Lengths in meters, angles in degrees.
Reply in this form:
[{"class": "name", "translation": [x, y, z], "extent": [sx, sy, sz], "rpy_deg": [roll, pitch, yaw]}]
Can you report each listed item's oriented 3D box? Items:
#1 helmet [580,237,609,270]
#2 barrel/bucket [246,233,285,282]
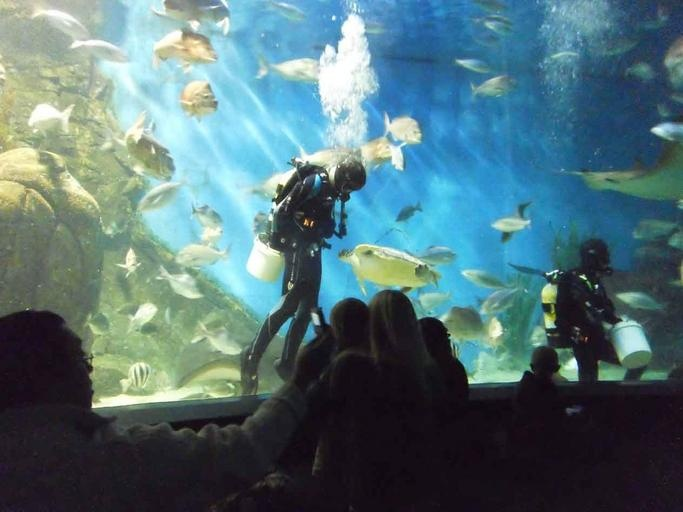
[{"class": "helmet", "translation": [4.393, -0.038, 10.746], "extent": [0.428, 0.554, 0.533], "rpy_deg": [2, 8, 16]}, {"class": "barrel/bucket", "translation": [-1.179, 0.039, 9.977], "extent": [0.561, 0.420, 0.564], "rpy_deg": [36, 6, -4]}]
